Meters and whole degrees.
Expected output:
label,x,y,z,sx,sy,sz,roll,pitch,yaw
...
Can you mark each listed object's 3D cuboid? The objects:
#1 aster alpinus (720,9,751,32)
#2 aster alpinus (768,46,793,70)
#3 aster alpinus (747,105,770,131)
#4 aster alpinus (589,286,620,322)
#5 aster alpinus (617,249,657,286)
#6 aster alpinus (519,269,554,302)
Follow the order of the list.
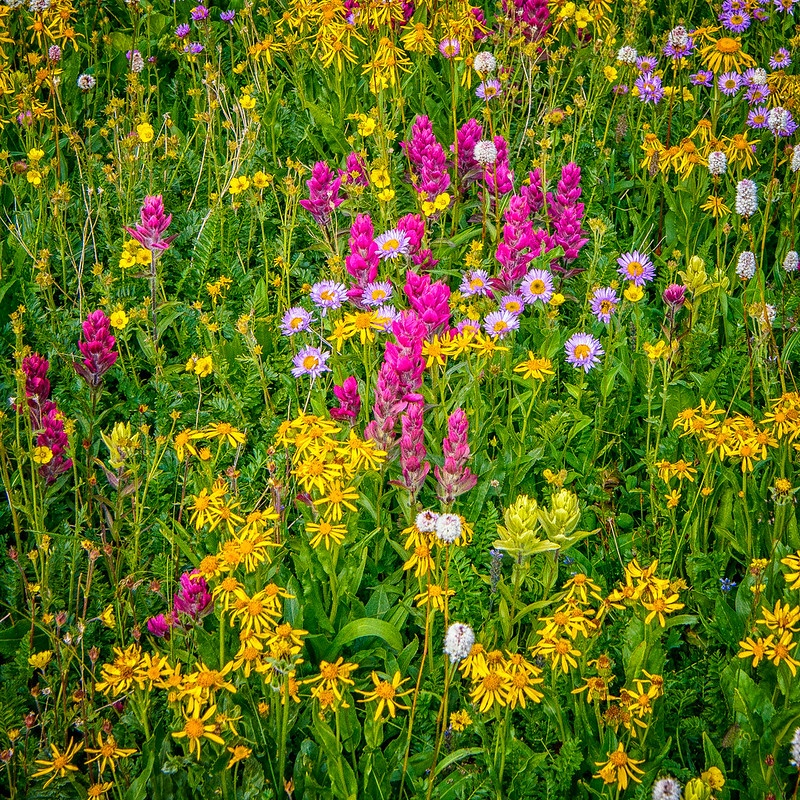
label,x,y,z,sx,sy,sz,roll,pitch,yaw
aster alpinus,1.472,-1.701,5.122,0.147,0.065,0.120,22,38,36
aster alpinus,1.645,-1.502,5.048,0.075,0.025,0.111,-1,63,37
aster alpinus,1.458,-1.142,4.749,0.095,0.024,0.116,-43,30,43
aster alpinus,0.721,-0.363,4.078,0.086,0.134,0.040,-14,0,33
aster alpinus,0.868,-0.498,4.293,0.114,0.196,0.054,-5,-3,2
aster alpinus,0.477,-0.404,4.090,0.114,0.113,0.157,-3,28,-1
